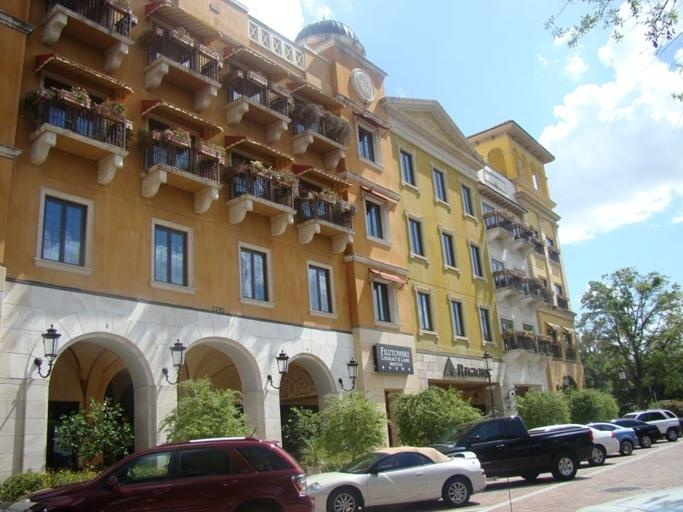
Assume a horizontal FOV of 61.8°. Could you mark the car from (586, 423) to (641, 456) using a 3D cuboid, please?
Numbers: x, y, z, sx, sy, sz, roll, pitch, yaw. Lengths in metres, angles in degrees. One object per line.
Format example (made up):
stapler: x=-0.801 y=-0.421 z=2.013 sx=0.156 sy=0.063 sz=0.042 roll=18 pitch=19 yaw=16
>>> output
car: x=13.041 y=8.538 z=27.037 sx=3.508 sy=1.344 sz=1.646 roll=5 pitch=-18 yaw=-11

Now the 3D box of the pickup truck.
pickup truck: x=6.268 y=6.807 z=19.844 sx=4.884 sy=1.822 sz=2.260 roll=6 pitch=-23 yaw=-12
